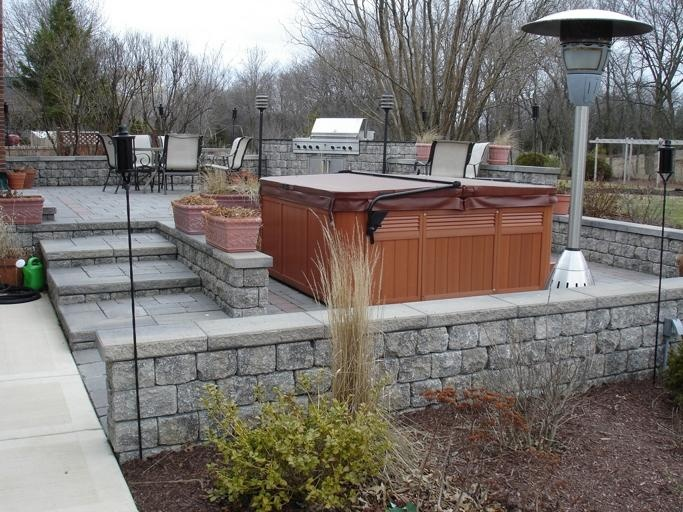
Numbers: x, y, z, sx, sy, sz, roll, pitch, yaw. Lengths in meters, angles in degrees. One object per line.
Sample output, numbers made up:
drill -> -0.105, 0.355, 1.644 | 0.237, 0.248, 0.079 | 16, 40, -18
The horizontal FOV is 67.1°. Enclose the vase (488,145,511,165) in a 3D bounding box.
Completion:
vase -> 3.138, -2.017, 10.218 | 0.386, 0.386, 0.627 | 3, 14, 13

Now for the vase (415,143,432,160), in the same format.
vase -> 1.817, -2.310, 11.385 | 0.293, 0.343, 0.683 | 1, 14, 5
